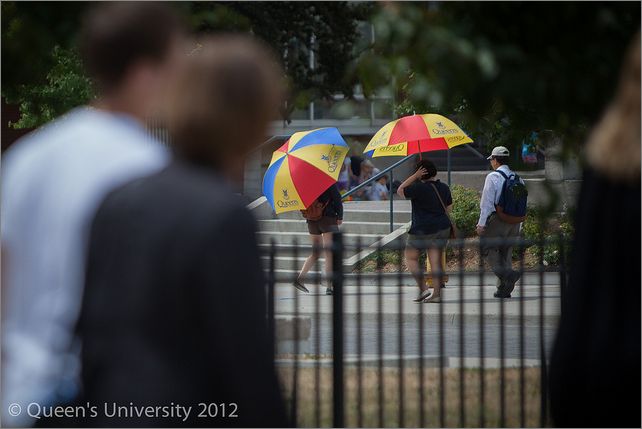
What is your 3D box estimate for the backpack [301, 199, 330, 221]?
[{"bbox_3d":[-0.062,-0.042,10.663,0.227,0.237,0.176,-4,2,-7],"label":"backpack"}]
